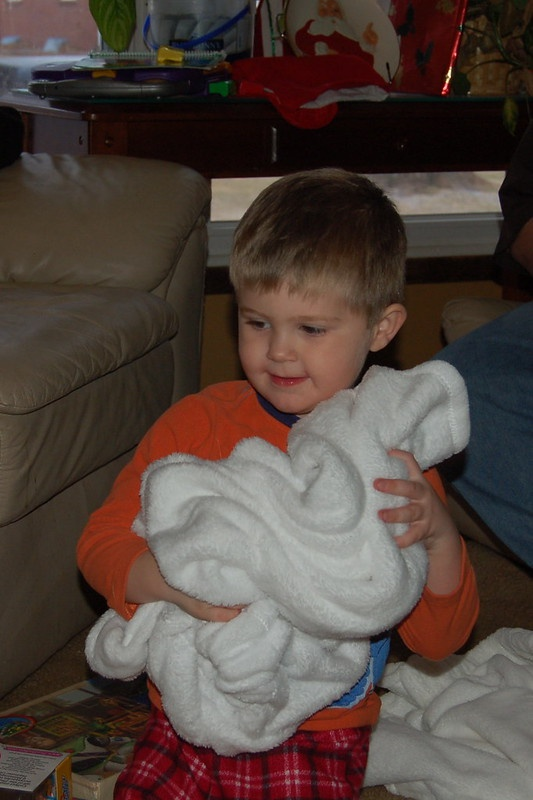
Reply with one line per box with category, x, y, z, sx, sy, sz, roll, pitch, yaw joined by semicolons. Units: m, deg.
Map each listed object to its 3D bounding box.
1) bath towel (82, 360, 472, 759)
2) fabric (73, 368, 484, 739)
bath towel;0.022;0.141;0.600;0.354;0.276;0.195;-13;38;-18
fabric;-0.059;0.114;0.788;0.379;0.407;0.128;6;-3;1
